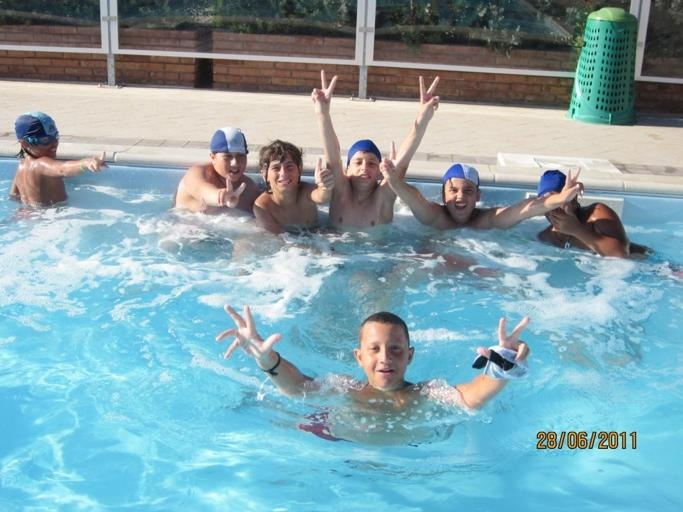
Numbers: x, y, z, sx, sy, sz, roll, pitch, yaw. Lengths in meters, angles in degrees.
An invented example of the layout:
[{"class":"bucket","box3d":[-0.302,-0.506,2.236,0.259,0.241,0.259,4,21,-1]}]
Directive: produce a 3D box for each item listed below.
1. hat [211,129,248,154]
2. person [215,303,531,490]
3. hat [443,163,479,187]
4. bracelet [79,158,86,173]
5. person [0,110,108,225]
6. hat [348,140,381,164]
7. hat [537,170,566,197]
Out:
[{"class":"hat","box3d":[-0.986,-1.004,5.600,0.264,0.157,0.258,-5,25,-42]},{"class":"person","box3d":[0.213,0.691,3.504,1.699,0.804,0.679,-1,-2,20]},{"class":"hat","box3d":[1.034,-0.717,5.607,0.209,0.143,0.263,9,-2,-19]},{"class":"bracelet","box3d":[-2.258,-0.788,5.581,0.039,0.094,0.089,-10,15,-43]},{"class":"person","box3d":[-2.667,-0.835,5.783,0.545,0.906,0.916,-9,18,-32]},{"class":"hat","box3d":[0.183,-0.924,5.581,0.235,0.169,0.252,-2,15,-2]},{"class":"hat","box3d":[1.766,-0.621,5.421,0.209,0.196,0.245,8,5,18]}]
